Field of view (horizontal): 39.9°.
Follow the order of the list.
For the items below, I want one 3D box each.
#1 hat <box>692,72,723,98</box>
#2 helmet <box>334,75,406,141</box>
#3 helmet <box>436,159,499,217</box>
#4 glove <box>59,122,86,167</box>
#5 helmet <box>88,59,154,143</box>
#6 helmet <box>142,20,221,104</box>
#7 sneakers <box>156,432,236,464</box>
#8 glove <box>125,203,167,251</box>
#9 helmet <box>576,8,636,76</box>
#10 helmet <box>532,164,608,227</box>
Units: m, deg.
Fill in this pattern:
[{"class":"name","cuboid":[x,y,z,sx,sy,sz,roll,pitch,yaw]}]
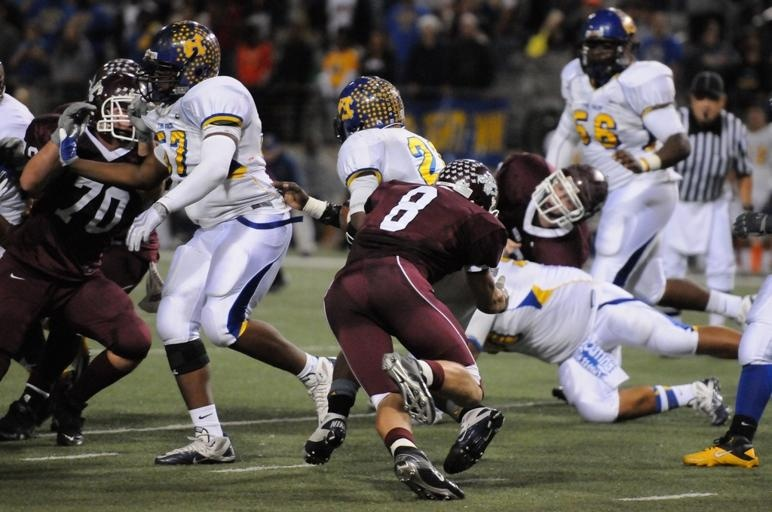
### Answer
[{"class":"hat","cuboid":[2.941,-1.554,9.718,0.294,0.246,0.240,2,8,14]},{"class":"helmet","cuboid":[-0.117,-0.941,6.816,0.394,0.456,0.487,-9,5,-38]},{"class":"helmet","cuboid":[0.472,-0.420,6.171,0.446,0.356,0.324,-8,12,-41]},{"class":"glove","cuboid":[-1.825,-0.636,6.141,0.061,0.194,0.202,16,24,27]},{"class":"helmet","cuboid":[-1.667,-0.985,6.558,0.459,0.370,0.330,22,18,29]},{"class":"helmet","cuboid":[-1.233,-1.187,6.352,0.524,0.424,0.389,-18,29,-32]},{"class":"sneakers","cuboid":[-1.056,1.099,6.153,0.531,0.225,0.170,2,-3,-5]},{"class":"glove","cuboid":[-1.299,-0.167,5.936,0.183,0.302,0.108,12,-29,38]},{"class":"helmet","cuboid":[1.572,-1.535,7.712,0.492,0.457,0.376,-2,-1,-41]},{"class":"helmet","cuboid":[1.212,-0.374,7.095,0.443,0.443,0.560,-9,-11,-10]}]
